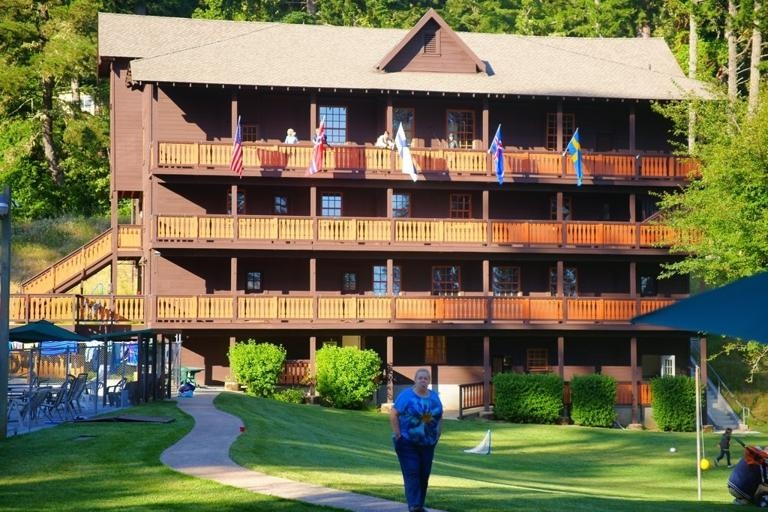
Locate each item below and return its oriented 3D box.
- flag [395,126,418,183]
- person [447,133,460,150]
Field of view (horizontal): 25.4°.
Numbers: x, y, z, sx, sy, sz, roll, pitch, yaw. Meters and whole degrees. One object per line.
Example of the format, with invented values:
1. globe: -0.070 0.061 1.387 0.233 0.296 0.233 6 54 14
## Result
1. flag: 1.434 -6.532 108.216 1.428 3.299 3.310 1 -10 0
2. person: 4.549 -7.689 112.593 0.701 0.909 0.182 5 -10 -24
